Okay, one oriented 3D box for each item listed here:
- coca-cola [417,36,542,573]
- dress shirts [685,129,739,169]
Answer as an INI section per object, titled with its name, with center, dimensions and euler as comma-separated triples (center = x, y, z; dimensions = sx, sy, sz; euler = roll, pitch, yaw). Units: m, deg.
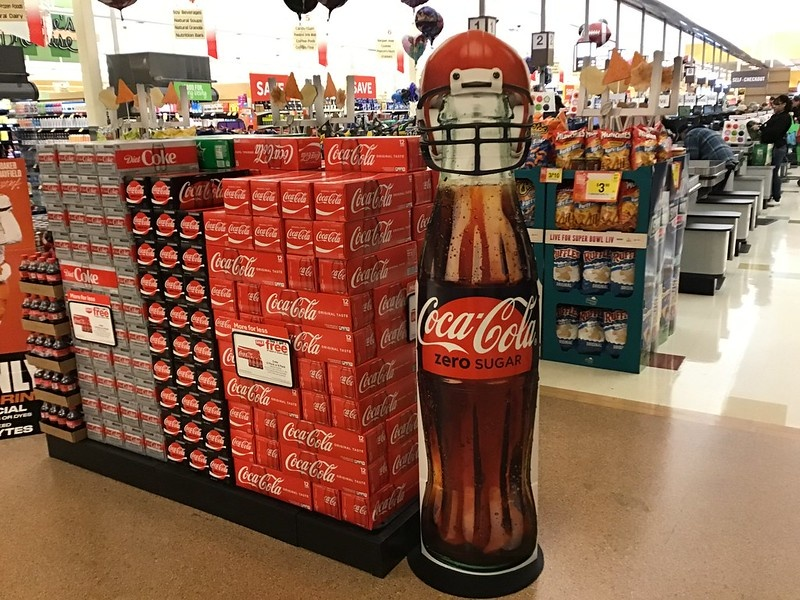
[coca-cola]
center = 0.318, 0.101, 2.377
dimensions = 0.500, 2.176, 0.447
euler = -1, 20, 1
[dress shirts]
center = 4.186, -2.040, 8.160
dimensions = 0.646, 0.522, 0.891
euler = 10, 22, 28
